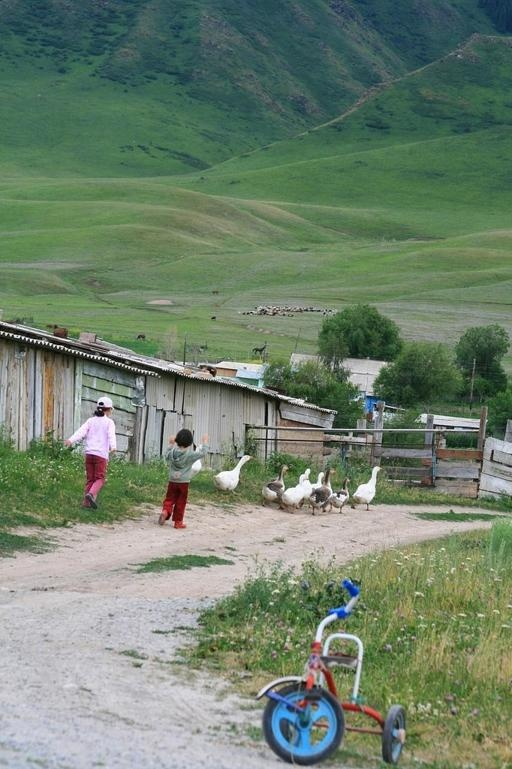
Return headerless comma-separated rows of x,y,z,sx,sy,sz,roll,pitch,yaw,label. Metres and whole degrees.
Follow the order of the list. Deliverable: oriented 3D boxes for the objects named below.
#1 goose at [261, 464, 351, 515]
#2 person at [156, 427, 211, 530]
1.027,2.361,22.568,1.584,1.125,1.333,0,-1,-7,goose
-1.282,1.569,17.261,0.591,1.596,0.826,0,0,-37,person
